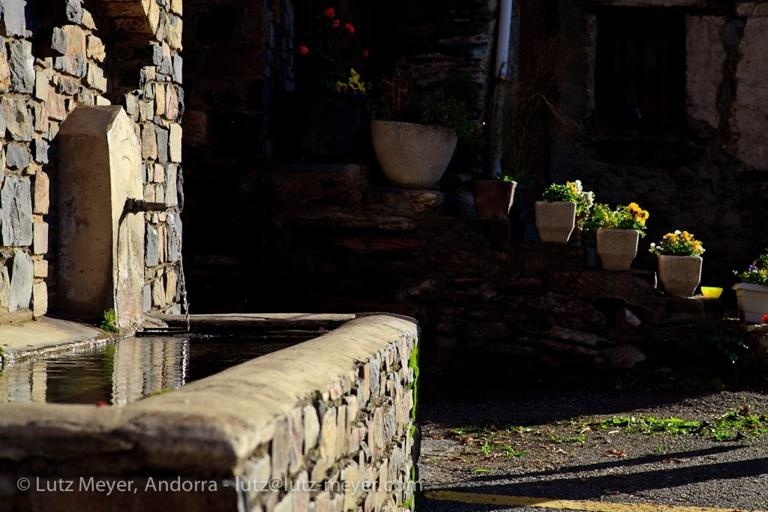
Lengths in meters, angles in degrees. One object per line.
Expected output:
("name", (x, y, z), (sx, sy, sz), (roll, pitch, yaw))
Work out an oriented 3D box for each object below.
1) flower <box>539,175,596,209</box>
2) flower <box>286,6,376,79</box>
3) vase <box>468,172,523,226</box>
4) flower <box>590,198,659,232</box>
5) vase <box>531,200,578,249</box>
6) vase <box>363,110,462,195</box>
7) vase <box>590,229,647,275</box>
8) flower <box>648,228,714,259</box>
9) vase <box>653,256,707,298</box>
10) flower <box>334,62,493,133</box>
("flower", (2.050, -0.698, 14.928), (0.407, 0.241, 0.453), (5, -1, -3))
("flower", (-0.647, -2.553, 16.494), (1.039, 1.003, 0.346), (16, 16, 36))
("vase", (1.171, -0.532, 14.933), (0.505, 0.447, 0.569), (6, -30, -9))
("flower", (2.592, -0.443, 14.913), (0.627, 0.302, 0.653), (8, 12, 7))
("vase", (1.864, -0.342, 14.692), (0.559, 0.592, 0.446), (2, -5, -12))
("vase", (0.376, -1.164, 15.703), (1.157, 0.708, 1.078), (6, 8, 14))
("vase", (2.583, -0.067, 14.818), (0.514, 0.402, 0.479), (2, -4, 27))
("flower", (3.241, -0.124, 14.969), (0.451, 0.224, 0.438), (2, -1, -33))
("vase", (3.280, 0.222, 14.975), (0.514, 0.454, 0.477), (0, -1, 1))
("flower", (0.362, -1.822, 15.647), (1.213, 0.576, 0.998), (20, -8, -11))
